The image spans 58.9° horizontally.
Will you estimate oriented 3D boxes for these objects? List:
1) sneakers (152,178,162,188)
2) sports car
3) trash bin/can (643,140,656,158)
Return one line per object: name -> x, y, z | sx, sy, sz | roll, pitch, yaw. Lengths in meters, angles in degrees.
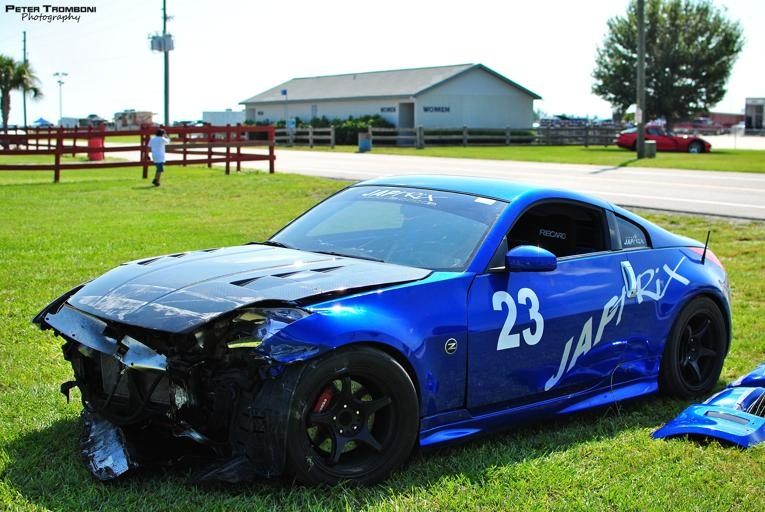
sneakers -> -7.946, -2.202, 20.359 | 0.211, 0.239, 0.561 | 2, 1, -22
sports car -> 0.224, 0.367, 4.921 | 5.435, 1.735, 1.857 | -6, 15, -27
trash bin/can -> 15.463, -5.136, 32.398 | 0.605, 0.724, 1.020 | 7, 14, 24
